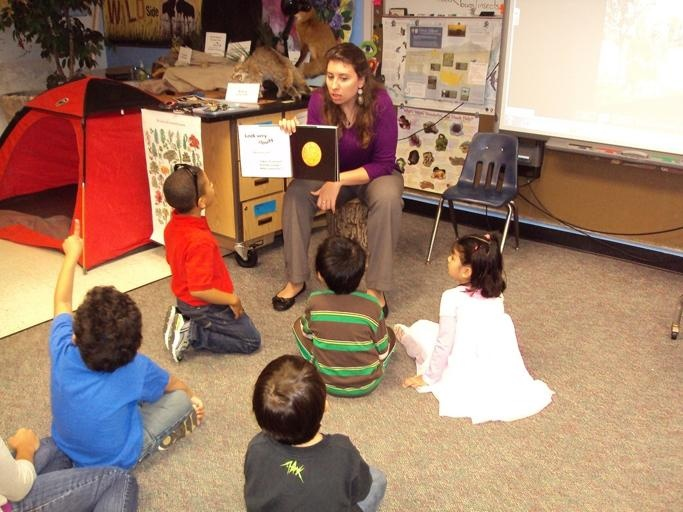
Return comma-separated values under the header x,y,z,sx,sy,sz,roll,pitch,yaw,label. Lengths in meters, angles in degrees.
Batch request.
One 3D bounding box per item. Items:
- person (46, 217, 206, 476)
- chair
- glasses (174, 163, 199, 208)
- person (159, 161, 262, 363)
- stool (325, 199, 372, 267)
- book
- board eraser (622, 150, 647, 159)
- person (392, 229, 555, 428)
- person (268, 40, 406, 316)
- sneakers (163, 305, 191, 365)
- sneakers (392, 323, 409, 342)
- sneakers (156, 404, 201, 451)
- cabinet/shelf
x,y,z,sx,sy,sz,roll,pitch,yaw,label
-0.897,0.427,2.038,0.412,0.825,0.522,16,28,32,person
0.878,-0.369,3.385,0.568,0.843,0.637,6,13,3,chair
-0.718,-0.334,2.454,0.042,0.171,0.151,-18,28,-41,glasses
-0.717,0.034,2.795,0.499,1.132,0.515,-22,38,-33,person
0.047,-0.204,3.310,0.319,0.389,0.336,-18,21,-21,stool
-0.289,-0.575,2.912,0.549,0.314,0.055,2,36,-3,book
1.822,-0.626,3.212,0.033,0.033,0.126,-6,22,-28,board eraser
0.603,0.230,2.544,0.602,0.787,0.857,-6,18,-27,person
0.015,-0.442,2.954,0.873,1.442,0.873,-7,13,-36,person
-0.822,0.382,2.563,0.122,0.308,0.113,-12,10,-16,sneakers
0.308,0.404,2.746,0.044,0.059,0.130,-3,24,-1,sneakers
-0.692,0.692,2.186,0.176,0.130,0.070,-40,56,-12,sneakers
-0.768,-0.646,3.820,0.889,1.408,1.391,14,26,31,cabinet/shelf
